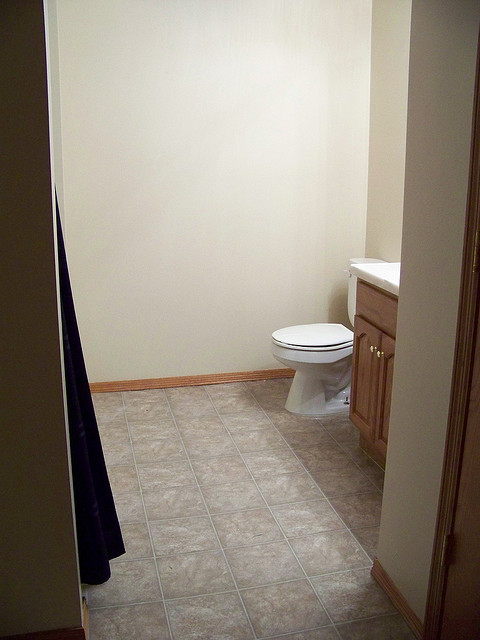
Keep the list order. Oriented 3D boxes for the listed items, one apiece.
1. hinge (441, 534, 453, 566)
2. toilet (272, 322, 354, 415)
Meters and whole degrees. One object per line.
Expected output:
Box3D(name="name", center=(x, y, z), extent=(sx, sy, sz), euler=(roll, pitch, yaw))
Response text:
Box3D(name="hinge", center=(0.474, 0.529, 1.046), extent=(0.019, 0.086, 0.009), euler=(6, 10, 36))
Box3D(name="toilet", center=(0.492, 0.281, 2.854), extent=(0.511, 0.589, 0.589), euler=(5, 21, 27))
